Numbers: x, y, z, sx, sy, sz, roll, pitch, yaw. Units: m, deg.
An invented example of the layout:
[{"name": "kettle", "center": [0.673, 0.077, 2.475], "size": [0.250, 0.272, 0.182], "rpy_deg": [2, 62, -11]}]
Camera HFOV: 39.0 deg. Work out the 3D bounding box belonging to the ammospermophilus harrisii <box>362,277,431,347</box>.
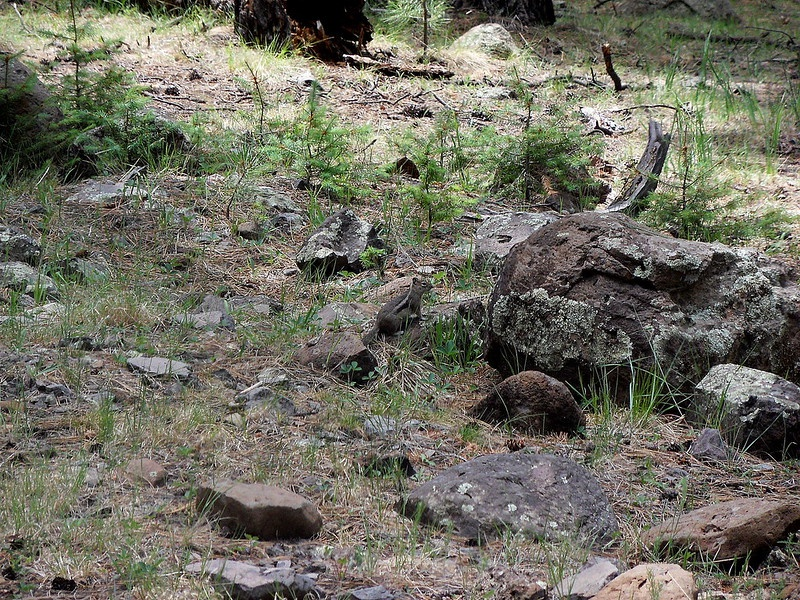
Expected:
[{"name": "ammospermophilus harrisii", "center": [-0.053, 0.092, 9.136], "size": [0.780, 0.374, 0.259], "rpy_deg": [-24, 11, 7]}]
